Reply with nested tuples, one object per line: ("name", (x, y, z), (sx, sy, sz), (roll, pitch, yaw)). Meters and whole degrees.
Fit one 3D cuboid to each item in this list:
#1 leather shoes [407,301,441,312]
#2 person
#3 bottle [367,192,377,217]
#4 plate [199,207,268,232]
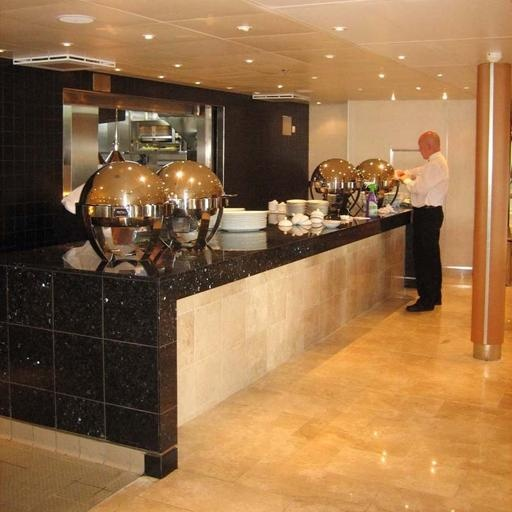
("leather shoes", (1.849, 0.569, 5.469), (0.365, 0.145, 0.125), (4, -3, -9))
("person", (1.896, -0.383, 5.479), (0.475, 1.978, 0.389), (0, 4, 3))
("bottle", (1.260, -0.560, 5.346), (0.093, 0.269, 0.167), (1, 4, 11))
("plate", (-0.114, -0.284, 3.876), (0.350, 0.187, 0.677), (0, 4, -4))
